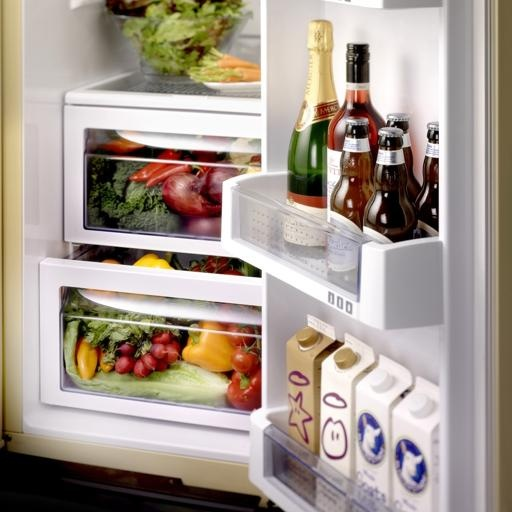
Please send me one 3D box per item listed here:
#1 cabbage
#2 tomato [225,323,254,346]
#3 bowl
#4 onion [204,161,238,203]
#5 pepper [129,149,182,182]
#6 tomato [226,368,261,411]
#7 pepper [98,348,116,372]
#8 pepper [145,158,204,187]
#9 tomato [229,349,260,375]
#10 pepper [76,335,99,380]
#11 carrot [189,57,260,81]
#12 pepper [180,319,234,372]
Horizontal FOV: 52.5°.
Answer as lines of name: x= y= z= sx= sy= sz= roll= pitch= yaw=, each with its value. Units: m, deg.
cabbage: x=-0.352 y=-0.167 z=1.410 sx=0.232 sy=0.207 sz=0.081 roll=5 pitch=6 yaw=15
tomato: x=-0.035 y=0.198 z=1.281 sx=0.059 sy=0.054 sz=0.057 roll=3 pitch=18 yaw=1
bowl: x=-0.196 y=-0.533 z=1.512 sx=0.308 sy=0.111 sz=0.300 roll=-1 pitch=10 yaw=0
onion: x=-0.087 y=-0.182 z=1.334 sx=0.082 sy=0.092 sz=0.054 roll=11 pitch=11 yaw=35
pepper: x=-0.260 y=-0.238 z=1.364 sx=0.108 sy=0.029 sz=0.032 roll=-36 pitch=-10 yaw=16
tomato: x=-0.026 y=0.336 z=1.285 sx=0.080 sy=0.098 sz=0.081 roll=-30 pitch=54 yaw=14
pepper: x=-0.401 y=0.286 z=1.392 sx=0.037 sy=0.068 sz=0.030 roll=-2 pitch=0 yaw=6
pepper: x=-0.217 y=-0.210 z=1.404 sx=0.169 sy=0.042 sz=0.054 roll=-14 pitch=51 yaw=10
tomato: x=-0.024 y=0.264 z=1.277 sx=0.065 sy=0.061 sz=0.060 roll=5 pitch=46 yaw=9
pepper: x=-0.462 y=0.266 z=1.427 sx=0.067 sy=0.041 sz=0.117 roll=-5 pitch=35 yaw=-5
carrot: x=-0.091 y=-0.495 z=1.403 sx=0.153 sy=0.044 sz=0.089 roll=-1 pitch=58 yaw=10
pepper: x=-0.117 y=0.226 z=1.311 sx=0.112 sy=0.087 sz=0.088 roll=23 pitch=14 yaw=-2
